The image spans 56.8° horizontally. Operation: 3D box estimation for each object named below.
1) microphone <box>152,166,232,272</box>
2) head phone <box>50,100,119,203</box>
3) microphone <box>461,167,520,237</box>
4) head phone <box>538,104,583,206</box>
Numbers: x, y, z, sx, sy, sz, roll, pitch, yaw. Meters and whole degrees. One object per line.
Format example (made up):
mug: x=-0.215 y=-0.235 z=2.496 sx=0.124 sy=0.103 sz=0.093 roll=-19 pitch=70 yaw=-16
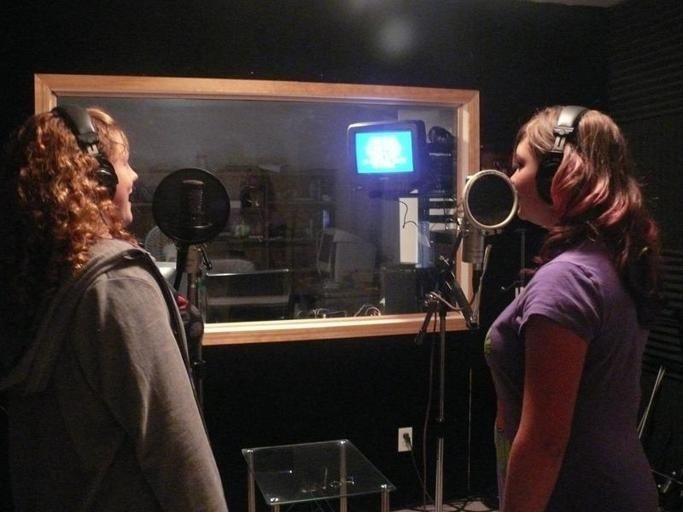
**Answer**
microphone: x=-0.545 y=-0.164 z=2.451 sx=0.295 sy=0.296 sz=0.318 roll=7 pitch=8 yaw=-15
head phone: x=-0.763 y=-0.302 z=1.841 sx=0.105 sy=0.268 sz=0.287 roll=-18 pitch=12 yaw=-33
microphone: x=0.600 y=-0.227 z=2.560 sx=0.191 sy=0.259 sz=0.063 roll=7 pitch=10 yaw=21
head phone: x=0.619 y=-0.278 z=1.774 sx=0.088 sy=0.242 sz=0.271 roll=16 pitch=11 yaw=21
